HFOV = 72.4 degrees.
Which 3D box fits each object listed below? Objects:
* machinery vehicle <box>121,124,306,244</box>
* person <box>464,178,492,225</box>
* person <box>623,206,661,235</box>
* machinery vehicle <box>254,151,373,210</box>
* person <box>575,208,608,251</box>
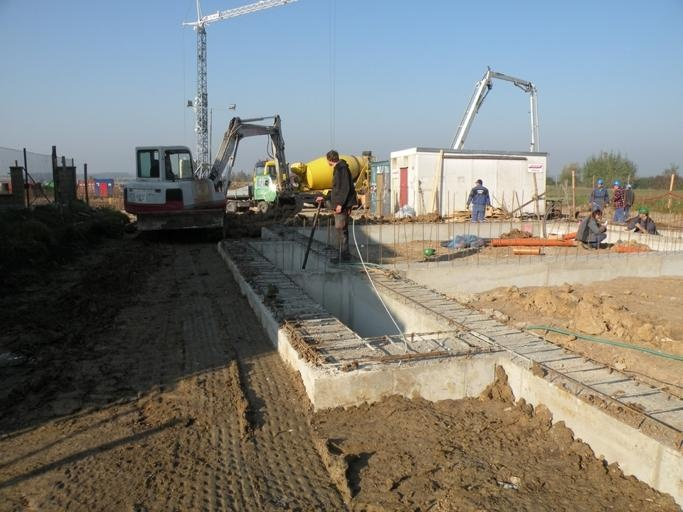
[{"bbox_3d":[-3.703,-2.485,13.594,4.828,3.240,2.280,-5,21,-28],"label":"machinery vehicle"},{"bbox_3d":[4.287,-1.716,14.399,0.618,1.252,2.036,4,14,17],"label":"person"},{"bbox_3d":[7.699,-0.903,11.870,0.738,0.675,1.882,8,15,31],"label":"person"},{"bbox_3d":[-1.130,-3.642,22.528,6.419,2.482,1.907,-8,3,-17],"label":"machinery vehicle"},{"bbox_3d":[5.422,-0.575,10.077,0.573,0.813,0.462,7,12,19],"label":"person"}]
